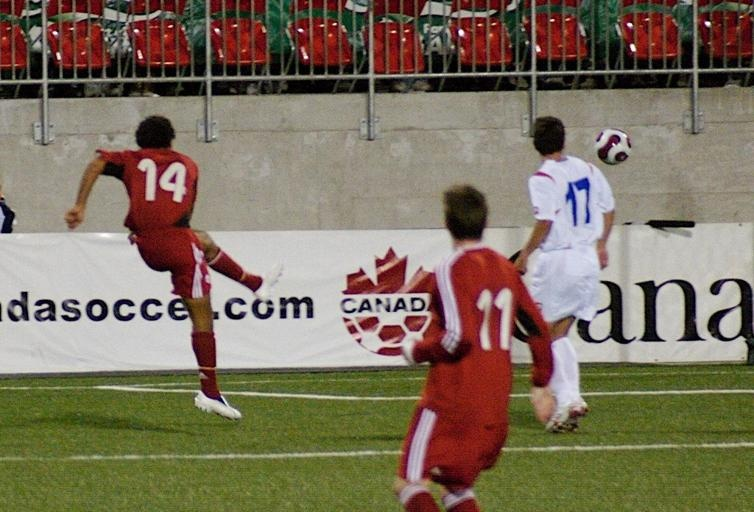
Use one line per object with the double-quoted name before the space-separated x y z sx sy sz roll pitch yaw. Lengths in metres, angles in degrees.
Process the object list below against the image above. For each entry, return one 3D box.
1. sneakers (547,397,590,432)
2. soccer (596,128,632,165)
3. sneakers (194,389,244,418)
"sneakers" 2.268 1.937 29.002 0.567 0.250 0.289 -37 -32 28
"soccer" 3.077 -1.334 31.862 0.482 0.465 0.463 -6 0 0
"sneakers" -1.916 1.795 29.382 0.659 0.279 0.246 19 -1 -3
